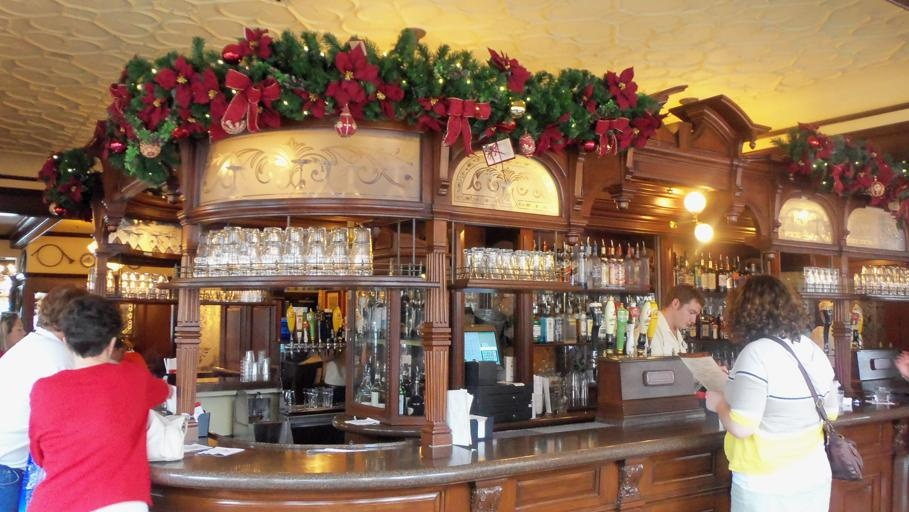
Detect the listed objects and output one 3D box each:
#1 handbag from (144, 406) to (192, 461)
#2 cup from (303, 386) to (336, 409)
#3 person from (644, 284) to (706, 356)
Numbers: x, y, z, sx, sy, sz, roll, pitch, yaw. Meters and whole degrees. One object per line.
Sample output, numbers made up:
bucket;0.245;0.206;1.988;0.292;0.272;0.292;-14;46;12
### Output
handbag;-2.506;1.523;5.834;0.433;0.395;0.387;0;-6;41
cup;-1.870;1.937;9.232;0.328;0.222;0.282;1;-7;-6
person;2.582;0.719;7.952;0.600;0.970;0.990;2;-7;33
